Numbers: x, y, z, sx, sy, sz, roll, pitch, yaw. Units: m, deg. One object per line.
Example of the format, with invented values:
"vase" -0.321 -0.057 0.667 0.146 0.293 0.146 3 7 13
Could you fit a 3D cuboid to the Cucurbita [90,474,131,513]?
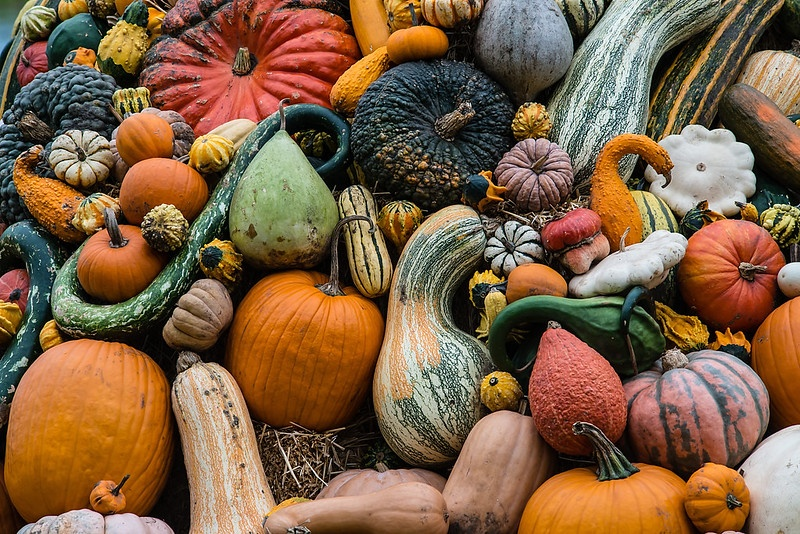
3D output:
"Cucurbita" -1.436 1.138 3.950 0.173 0.213 0.124 -3 22 -20
